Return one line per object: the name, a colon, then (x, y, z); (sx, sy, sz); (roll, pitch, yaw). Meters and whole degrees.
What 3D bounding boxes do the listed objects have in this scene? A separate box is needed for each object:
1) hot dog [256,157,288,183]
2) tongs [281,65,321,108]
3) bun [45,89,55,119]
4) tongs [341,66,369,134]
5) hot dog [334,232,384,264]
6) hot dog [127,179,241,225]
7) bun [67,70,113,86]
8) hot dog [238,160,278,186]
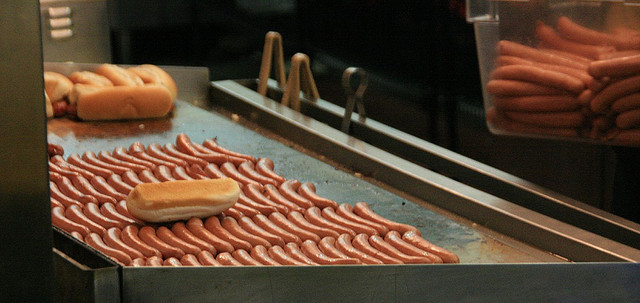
hot dog: (-0.306, 0.078, 4.388); (0.117, 0.056, 0.201); (-40, 10, 12)
tongs: (-0.174, -0.475, 5.122); (0.209, 0.279, 0.441); (12, 24, 32)
bun: (-1.682, -0.285, 4.587); (0.037, 0.150, 0.099); (-7, 22, -11)
tongs: (0.221, -0.333, 4.751); (0.196, 0.328, 0.068); (-13, 19, -25)
hot dog: (0.201, 0.511, 3.811); (0.263, 0.063, 0.109); (29, 50, 32)
hot dog: (-0.722, 0.241, 3.910); (0.559, 0.174, 0.236); (-4, 12, -13)
bun: (-1.489, -0.484, 4.779); (0.268, 0.061, 0.116); (13, 25, -6)
hot dog: (-0.361, 0.123, 4.257); (0.222, 0.054, 0.118); (32, 38, 30)
